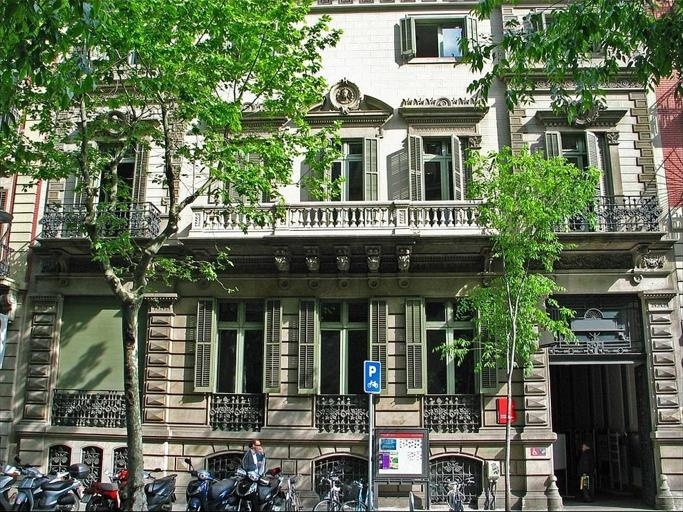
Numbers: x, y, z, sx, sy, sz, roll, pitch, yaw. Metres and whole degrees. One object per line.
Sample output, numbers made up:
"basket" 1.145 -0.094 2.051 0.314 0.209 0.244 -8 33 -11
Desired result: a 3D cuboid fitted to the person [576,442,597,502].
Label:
"person" 8.220 7.239 27.436 0.547 2.142 0.947 3 -33 20
